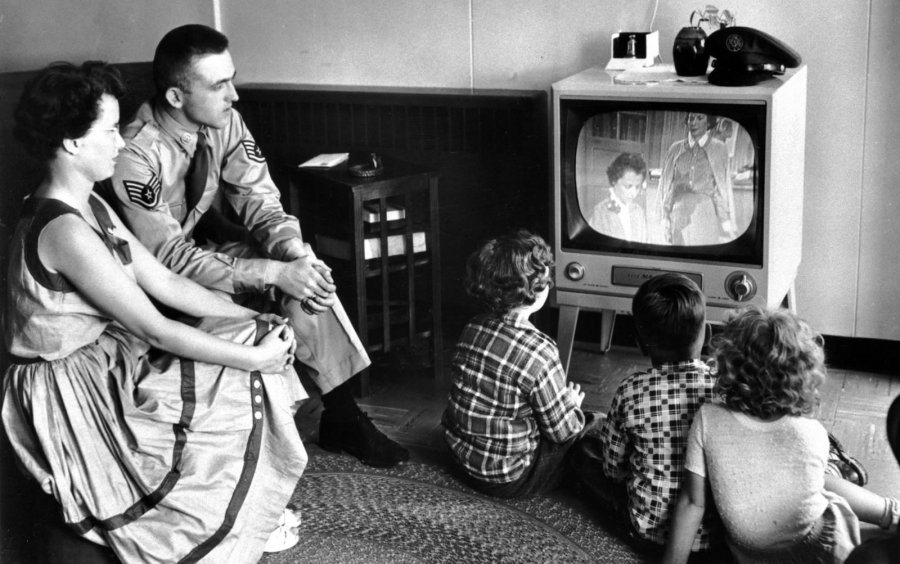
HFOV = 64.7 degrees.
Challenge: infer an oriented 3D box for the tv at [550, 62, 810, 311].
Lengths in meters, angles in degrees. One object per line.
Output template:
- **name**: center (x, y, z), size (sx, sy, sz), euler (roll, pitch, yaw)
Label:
- **tv**: center (0.762, -0.322, 2.369), size (0.694, 0.667, 0.517), euler (10, 22, 36)

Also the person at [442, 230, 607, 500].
- **person**: center (0.224, 0.219, 2.117), size (0.548, 0.704, 0.489), euler (-8, 18, -41)
